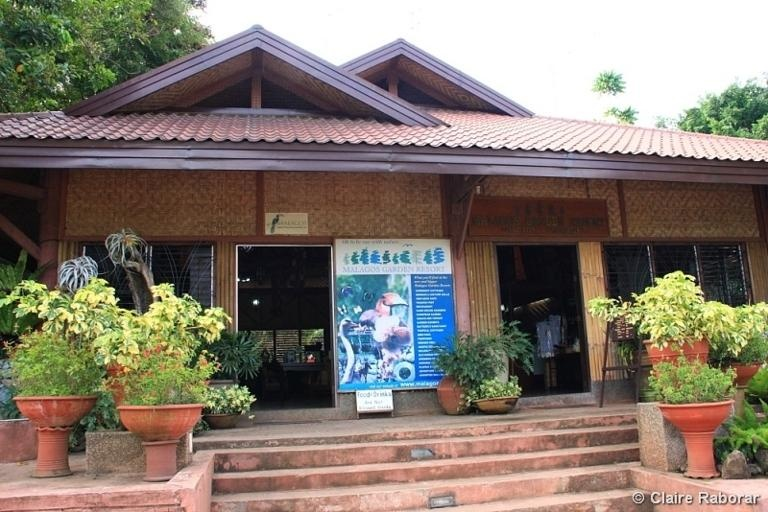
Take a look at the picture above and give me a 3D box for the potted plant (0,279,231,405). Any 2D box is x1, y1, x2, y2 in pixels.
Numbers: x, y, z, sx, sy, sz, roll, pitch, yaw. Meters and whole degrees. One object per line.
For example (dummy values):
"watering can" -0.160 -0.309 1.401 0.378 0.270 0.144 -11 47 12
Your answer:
"potted plant" -3.164 0.812 7.239 2.449 1.551 1.597 3 -28 -8

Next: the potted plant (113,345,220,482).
"potted plant" -2.408 1.689 6.319 0.952 1.460 0.494 2 -11 -17

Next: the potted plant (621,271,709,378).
"potted plant" 3.511 0.964 7.148 0.672 0.759 0.668 -21 24 -39

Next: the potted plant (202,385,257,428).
"potted plant" -2.342 2.202 8.605 0.915 0.587 0.892 0 -11 1

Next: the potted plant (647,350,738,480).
"potted plant" 3.760 1.960 6.892 0.897 1.218 0.901 11 -22 -8

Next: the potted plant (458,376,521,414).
"potted plant" 1.712 2.164 9.184 0.640 0.347 0.643 4 -14 -27
